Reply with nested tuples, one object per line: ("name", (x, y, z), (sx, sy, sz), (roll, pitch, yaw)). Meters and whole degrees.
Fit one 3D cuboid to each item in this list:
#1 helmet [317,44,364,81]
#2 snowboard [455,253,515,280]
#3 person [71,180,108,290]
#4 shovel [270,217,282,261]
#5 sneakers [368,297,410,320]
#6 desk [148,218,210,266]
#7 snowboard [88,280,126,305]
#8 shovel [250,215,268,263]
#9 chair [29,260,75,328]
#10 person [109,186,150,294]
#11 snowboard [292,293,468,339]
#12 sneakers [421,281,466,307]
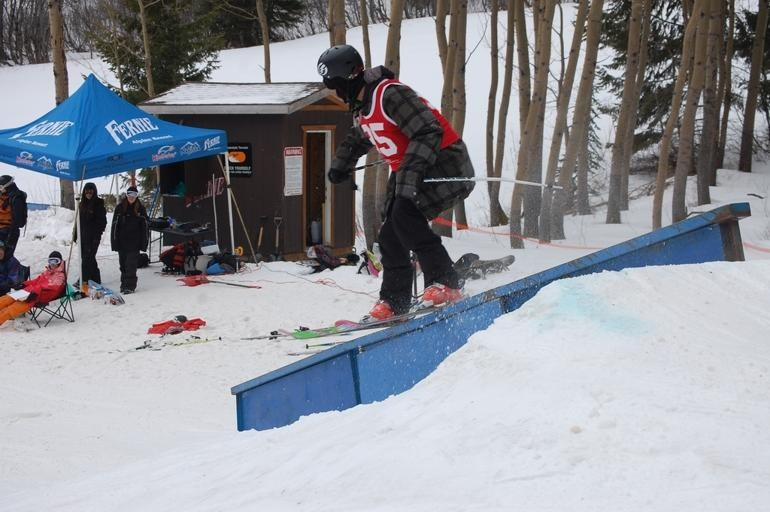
("helmet", (-0.445, -1.860, 7.044), (0.467, 0.268, 0.353), (-20, 41, -16))
("snowboard", (1.600, 0.159, 10.713), (1.268, 0.382, 0.409), (1, 7, 5))
("person", (-4.684, -0.327, 11.638), (0.435, 1.586, 0.872), (-2, 14, -10))
("shovel", (-1.962, -0.323, 13.448), (0.150, 0.773, 0.203), (1, 13, 4))
("sneakers", (0.020, 0.536, 7.589), (0.494, 0.205, 0.167), (-8, 7, -1))
("desk", (-3.636, -0.220, 13.063), (1.004, 0.711, 1.399), (-4, 14, -17))
("snowboard", (-4.228, 0.571, 11.131), (0.429, 0.142, 0.129), (27, 66, 32))
("shovel", (-2.307, -0.300, 13.458), (0.229, 0.826, 0.121), (6, -2, 6))
("chair", (-4.728, 0.457, 10.263), (0.603, 0.955, 0.612), (-2, 15, -41))
("person", (-4.023, -0.275, 11.599), (0.578, 1.540, 0.931), (-4, 14, -19))
("snowboard", (-0.083, 0.654, 7.821), (1.948, 0.283, 0.407), (-7, 31, -22))
("sneakers", (0.546, 0.391, 7.138), (0.343, 0.143, 0.194), (-2, 2, -19))
